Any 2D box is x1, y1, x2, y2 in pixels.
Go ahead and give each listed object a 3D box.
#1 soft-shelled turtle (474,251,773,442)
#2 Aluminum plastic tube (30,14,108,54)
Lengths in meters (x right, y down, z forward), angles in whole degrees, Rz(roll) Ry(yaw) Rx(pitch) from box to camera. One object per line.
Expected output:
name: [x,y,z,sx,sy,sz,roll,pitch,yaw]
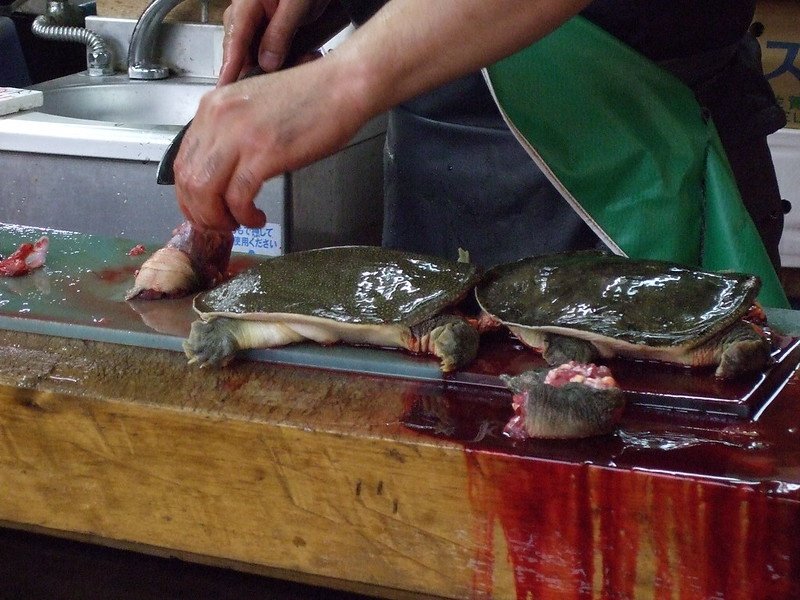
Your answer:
soft-shelled turtle: [0.366,0.034,1.487,0.472,0.154,0.365,0,34,-9]
Aluminum plastic tube: [-0.969,-0.776,2.850,0.094,0.074,0.387,-25,45,-38]
